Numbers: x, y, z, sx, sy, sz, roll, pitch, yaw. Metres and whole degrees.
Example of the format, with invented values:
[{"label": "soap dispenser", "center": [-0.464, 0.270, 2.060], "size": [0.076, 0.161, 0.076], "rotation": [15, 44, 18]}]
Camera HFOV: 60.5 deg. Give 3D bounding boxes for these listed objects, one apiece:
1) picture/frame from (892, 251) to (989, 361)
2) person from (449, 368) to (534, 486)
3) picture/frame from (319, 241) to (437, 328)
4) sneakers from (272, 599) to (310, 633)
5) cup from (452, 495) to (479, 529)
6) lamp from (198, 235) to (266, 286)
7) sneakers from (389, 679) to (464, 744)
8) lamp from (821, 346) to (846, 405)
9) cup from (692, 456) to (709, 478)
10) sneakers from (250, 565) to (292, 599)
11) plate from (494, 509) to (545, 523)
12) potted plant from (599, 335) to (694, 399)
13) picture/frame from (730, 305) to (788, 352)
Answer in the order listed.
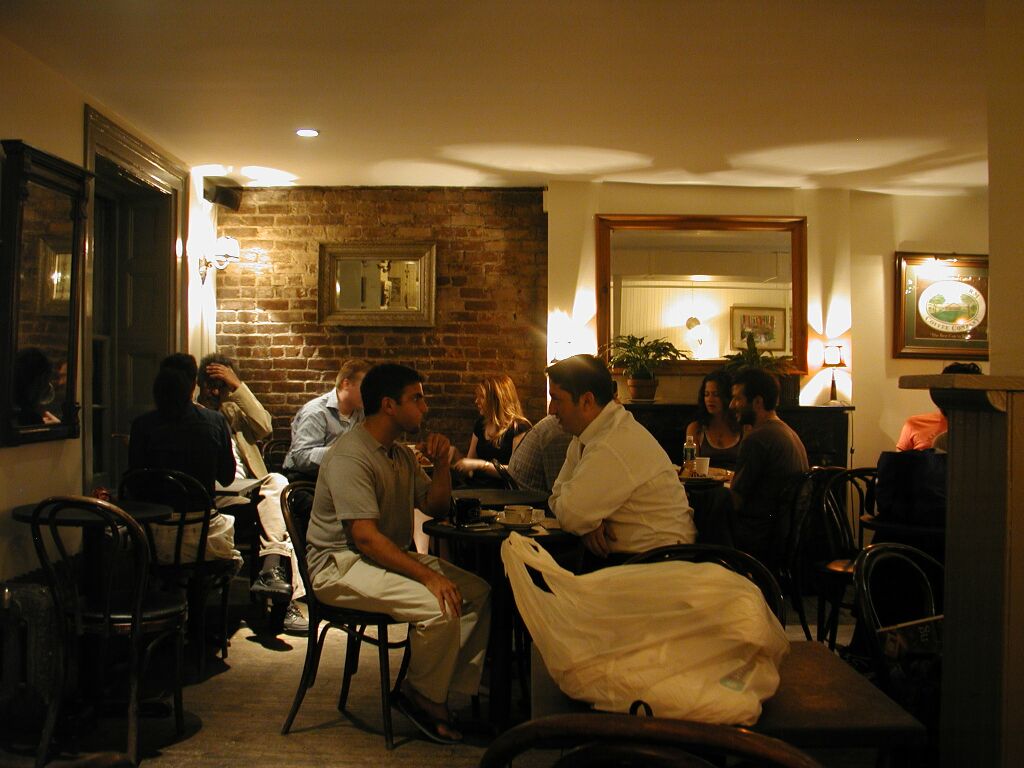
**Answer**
[{"label": "picture/frame", "center": [3.567, -0.686, 7.365], "size": [0.886, 1.055, 0.080], "rotation": [-5, 4, -4]}, {"label": "person", "center": [-0.116, 0.327, 5.800], "size": [0.615, 0.860, 0.575], "rotation": [1, -4, -7]}, {"label": "picture/frame", "center": [-1.098, -0.823, 7.242], "size": [0.692, 0.525, 0.073], "rotation": [0, -2, 1]}, {"label": "sneakers", "center": [-1.271, 1.337, 5.035], "size": [0.138, 0.179, 0.413], "rotation": [5, -14, -21]}, {"label": "cup", "center": [-0.205, 0.521, 3.642], "size": [0.124, 0.109, 0.078], "rotation": [0, -1, -13]}, {"label": "lamp", "center": [-2.284, -1.014, 7.127], "size": [0.435, 0.638, 0.377], "rotation": [2, -2, 3]}, {"label": "sneakers", "center": [-0.355, 1.419, 3.737], "size": [0.406, 0.102, 0.149], "rotation": [44, 12, 9]}, {"label": "lamp", "center": [2.577, -0.107, 7.034], "size": [0.175, 0.463, 0.135], "rotation": [2, 4, 21]}, {"label": "cup", "center": [1.138, 0.493, 5.290], "size": [0.108, 0.089, 0.090], "rotation": [-2, -3, 5]}, {"label": "sneakers", "center": [-1.369, 1.135, 5.006], "size": [0.294, 0.169, 0.124], "rotation": [-1, -11, 33]}, {"label": "plate", "center": [0.016, 0.539, 3.592], "size": [0.106, 0.034, 0.102], "rotation": [2, -3, 13]}, {"label": "potted plant", "center": [1.059, -0.094, 6.959], "size": [0.525, 0.411, 0.532], "rotation": [2, -3, -3]}, {"label": "picture/frame", "center": [1.957, -0.454, 7.038], "size": [0.373, 0.304, 0.028], "rotation": [0, -3, -10]}]
